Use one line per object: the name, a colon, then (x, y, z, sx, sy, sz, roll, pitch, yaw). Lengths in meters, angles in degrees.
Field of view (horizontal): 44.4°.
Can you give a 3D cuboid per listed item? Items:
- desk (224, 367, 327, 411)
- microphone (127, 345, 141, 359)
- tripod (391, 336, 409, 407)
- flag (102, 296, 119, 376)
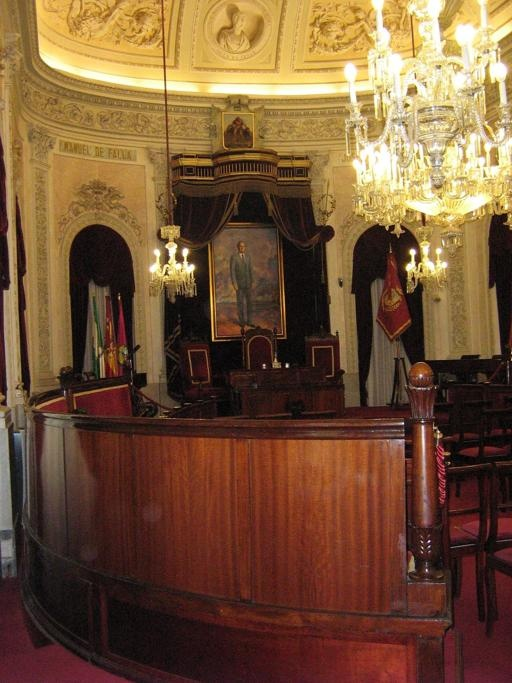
desk: (0.211, 0.608, 7.851, 0.719, 0.344, 0.738, -1, 2, -5)
microphone: (-1.761, 0.136, 8.989, 0.051, 0.268, 0.064, 25, -41, 10)
tripod: (2.361, 0.476, 10.214, 0.260, 1.058, 1.234, 1, 5, 13)
flag: (-2.055, -0.065, 8.909, 0.211, 1.024, 0.711, -1, 5, -14)
